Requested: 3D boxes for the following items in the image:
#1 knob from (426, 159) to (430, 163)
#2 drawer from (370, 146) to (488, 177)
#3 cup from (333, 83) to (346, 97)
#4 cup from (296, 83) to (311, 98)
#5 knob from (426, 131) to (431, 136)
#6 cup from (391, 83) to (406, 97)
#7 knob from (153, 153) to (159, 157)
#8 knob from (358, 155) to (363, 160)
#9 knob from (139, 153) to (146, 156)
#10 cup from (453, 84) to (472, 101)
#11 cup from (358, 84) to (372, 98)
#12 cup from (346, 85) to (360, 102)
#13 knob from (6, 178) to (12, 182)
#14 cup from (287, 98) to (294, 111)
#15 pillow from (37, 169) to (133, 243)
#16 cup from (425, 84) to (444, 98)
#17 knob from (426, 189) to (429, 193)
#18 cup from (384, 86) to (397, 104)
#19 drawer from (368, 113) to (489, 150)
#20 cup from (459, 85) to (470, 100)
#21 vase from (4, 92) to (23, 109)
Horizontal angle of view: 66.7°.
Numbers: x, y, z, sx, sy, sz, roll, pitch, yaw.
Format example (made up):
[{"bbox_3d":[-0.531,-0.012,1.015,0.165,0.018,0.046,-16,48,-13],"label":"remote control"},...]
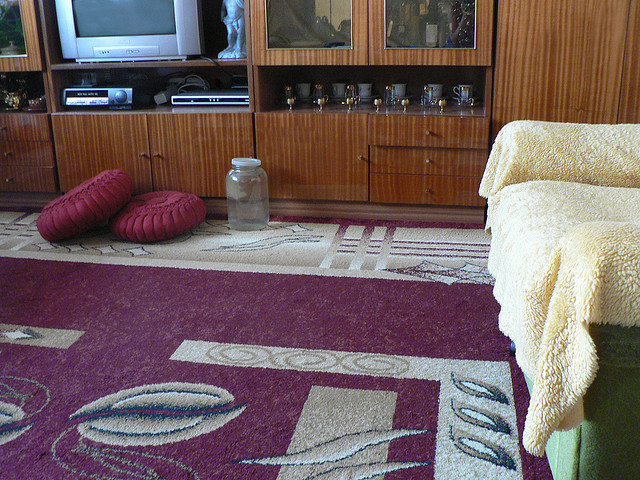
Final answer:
[{"bbox_3d":[0.558,-0.404,2.489,0.016,0.016,0.005,-2,19,4],"label":"knob"},{"bbox_3d":[0.584,-0.509,2.750,0.639,0.145,0.578,3,25,5],"label":"drawer"},{"bbox_3d":[0.117,-0.885,2.880,0.074,0.056,0.074,0,24,0],"label":"cup"},{"bbox_3d":[-0.097,-0.895,2.918,0.088,0.071,0.073,-3,10,-16],"label":"cup"},{"bbox_3d":[0.550,-0.539,2.447,0.022,0.021,0.006,1,8,5],"label":"knob"},{"bbox_3d":[0.457,-0.848,2.758,0.066,0.058,0.075,1,18,10],"label":"cup"},{"bbox_3d":[-0.918,-0.472,2.704,0.033,0.021,0.006,5,20,21],"label":"knob"},{"bbox_3d":[0.214,-0.433,2.546,0.018,0.023,0.007,11,2,-20],"label":"knob"},{"bbox_3d":[-0.995,-0.475,2.705,0.028,0.015,0.010,2,20,12],"label":"knob"},{"bbox_3d":[0.797,-0.819,2.707,0.109,0.077,0.072,5,21,23],"label":"cup"},{"bbox_3d":[0.266,-0.872,2.853,0.075,0.057,0.076,-1,20,0],"label":"cup"},{"bbox_3d":[0.197,-0.847,2.784,0.113,0.113,0.068,1,15,8],"label":"cup"},{"bbox_3d":[-1.839,-0.351,2.853,0.020,0.013,0.020,-4,14,-10],"label":"knob"},{"bbox_3d":[-0.161,-0.739,2.647,0.028,0.063,0.097,-4,20,-3],"label":"cup"},{"bbox_3d":[-1.138,-0.203,2.546,0.396,0.332,0.503,5,18,-1],"label":"pillow"},{"bbox_3d":[0.648,-0.838,2.735,0.093,0.065,0.075,-5,21,2],"label":"cup"},{"bbox_3d":[0.565,-0.255,2.529,0.014,0.016,0.005,-6,19,-10],"label":"knob"},{"bbox_3d":[0.405,-0.820,2.754,0.071,0.094,0.068,-3,19,1],"label":"cup"},{"bbox_3d":[0.586,-0.609,2.550,0.651,0.184,0.382,5,17,14],"label":"drawer"},{"bbox_3d":[0.800,-0.804,2.661,0.054,0.071,0.032,-1,19,6],"label":"cup"},{"bbox_3d":[-1.872,-0.835,2.926,0.144,0.090,0.049,4,20,19],"label":"vase"}]
